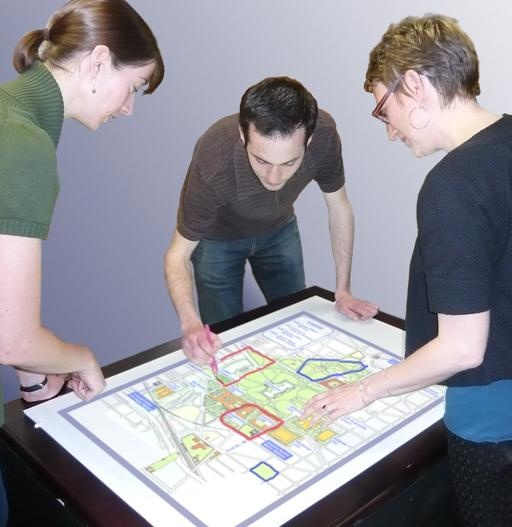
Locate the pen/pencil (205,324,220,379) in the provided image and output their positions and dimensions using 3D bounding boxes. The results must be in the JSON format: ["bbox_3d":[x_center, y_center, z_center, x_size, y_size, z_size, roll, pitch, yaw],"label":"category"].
[{"bbox_3d":[-0.138,0.246,1.500,0.027,0.024,0.225,11,38,-23],"label":"pen/pencil"}]

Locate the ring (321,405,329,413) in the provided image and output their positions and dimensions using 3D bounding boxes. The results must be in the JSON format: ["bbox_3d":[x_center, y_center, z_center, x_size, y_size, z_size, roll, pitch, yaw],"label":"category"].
[{"bbox_3d":[0.156,0.330,1.141,0.009,0.011,0.038,21,6,8],"label":"ring"}]
